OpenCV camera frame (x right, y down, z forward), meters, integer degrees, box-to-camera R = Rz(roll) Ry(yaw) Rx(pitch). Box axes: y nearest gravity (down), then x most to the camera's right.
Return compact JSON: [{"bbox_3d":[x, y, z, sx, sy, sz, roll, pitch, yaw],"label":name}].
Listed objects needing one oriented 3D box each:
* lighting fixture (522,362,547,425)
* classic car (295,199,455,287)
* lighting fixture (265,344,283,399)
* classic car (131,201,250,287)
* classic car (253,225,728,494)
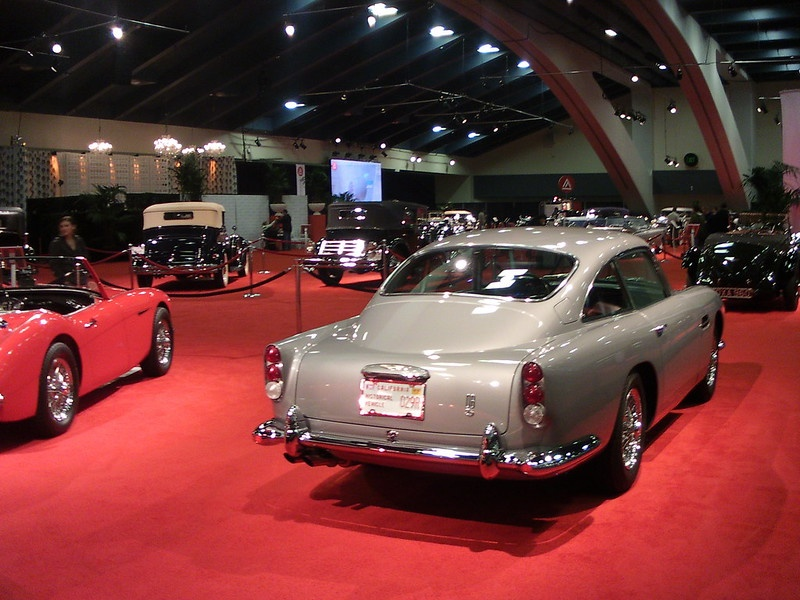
[{"bbox_3d":[0.711,0.499,2.699,0.121,0.323,0.067,0,5,13],"label":"lighting fixture"},{"bbox_3d":[-0.947,-1.875,15.968,2.202,1.823,4.085,2,11,29],"label":"classic car"},{"bbox_3d":[-0.839,0.471,3.359,0.171,0.384,0.119,-1,2,5],"label":"lighting fixture"},{"bbox_3d":[-6.400,-1.637,14.538,2.477,2.055,4.515,0,8,7],"label":"classic car"},{"bbox_3d":[1.029,0.236,3.854,1.670,1.037,3.168,1,9,33],"label":"classic car"}]
